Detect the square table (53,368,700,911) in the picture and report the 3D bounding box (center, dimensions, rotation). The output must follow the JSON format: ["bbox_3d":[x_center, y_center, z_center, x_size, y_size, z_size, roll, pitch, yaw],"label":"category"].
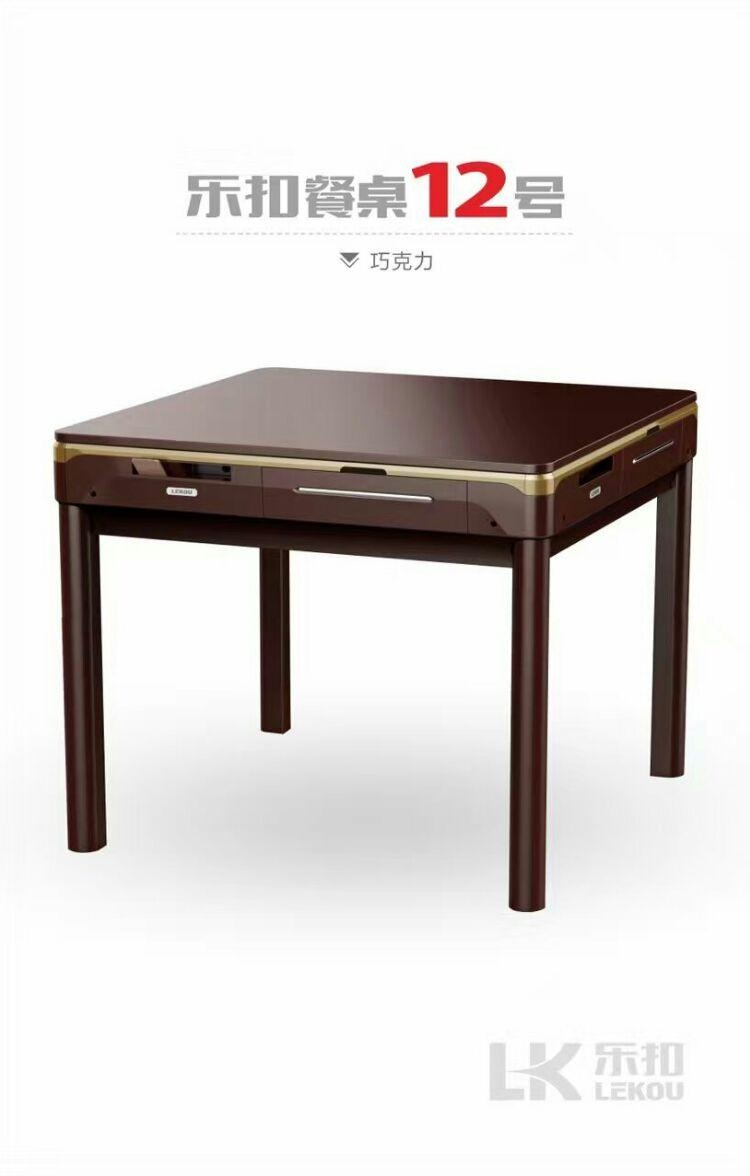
[{"bbox_3d":[-0.060,-0.007,2.083,1.092,0.820,1.172,-4,22,-10],"label":"square table"}]
